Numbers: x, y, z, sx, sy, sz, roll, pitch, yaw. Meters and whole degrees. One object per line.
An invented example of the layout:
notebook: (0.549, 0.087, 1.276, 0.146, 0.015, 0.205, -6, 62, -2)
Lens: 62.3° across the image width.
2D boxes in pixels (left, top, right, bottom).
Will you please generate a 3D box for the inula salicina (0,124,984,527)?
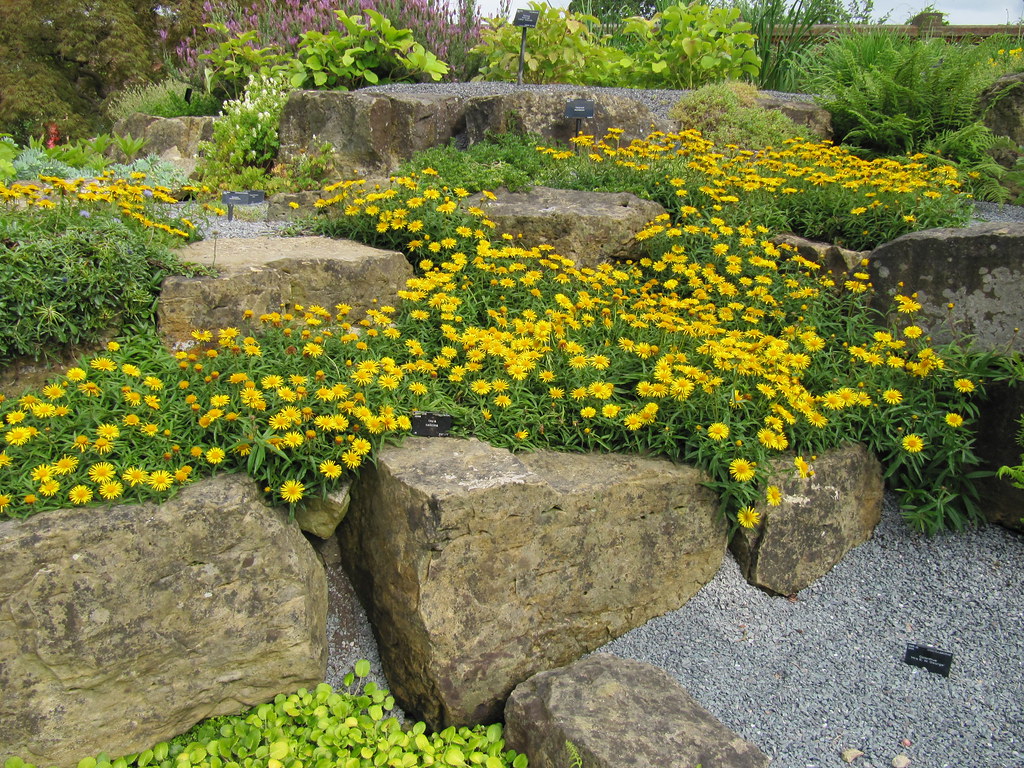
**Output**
inula salicina: (0.064, -0.386, 5.855, 5.456, 1.468, 3.332, -3, 34, -6)
